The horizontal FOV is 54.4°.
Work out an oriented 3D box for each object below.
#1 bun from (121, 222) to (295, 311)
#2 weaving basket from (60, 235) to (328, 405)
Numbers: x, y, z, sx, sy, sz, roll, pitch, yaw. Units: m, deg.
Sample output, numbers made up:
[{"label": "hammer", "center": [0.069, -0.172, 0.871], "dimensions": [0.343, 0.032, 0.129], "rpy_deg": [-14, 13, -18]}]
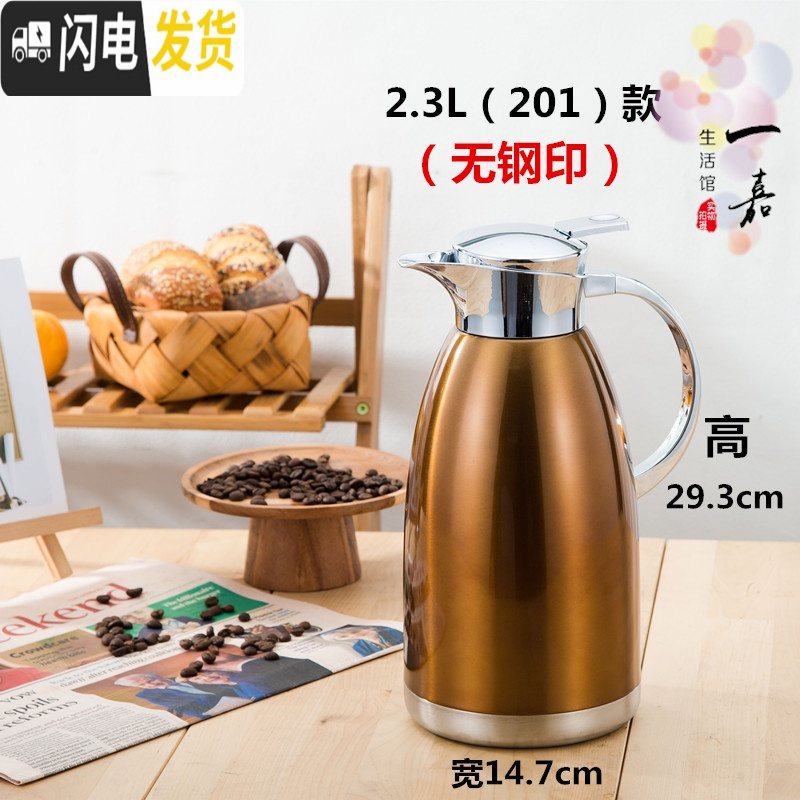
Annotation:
[{"label": "bun", "center": [-0.286, -0.200, 1.139], "dimensions": [0.204, 0.072, 0.144], "rpy_deg": [-6, 16, -25]}, {"label": "weaving basket", "center": [-0.306, -0.073, 1.178], "dimensions": [0.365, 0.203, 0.287], "rpy_deg": [-6, 6, -36]}]
